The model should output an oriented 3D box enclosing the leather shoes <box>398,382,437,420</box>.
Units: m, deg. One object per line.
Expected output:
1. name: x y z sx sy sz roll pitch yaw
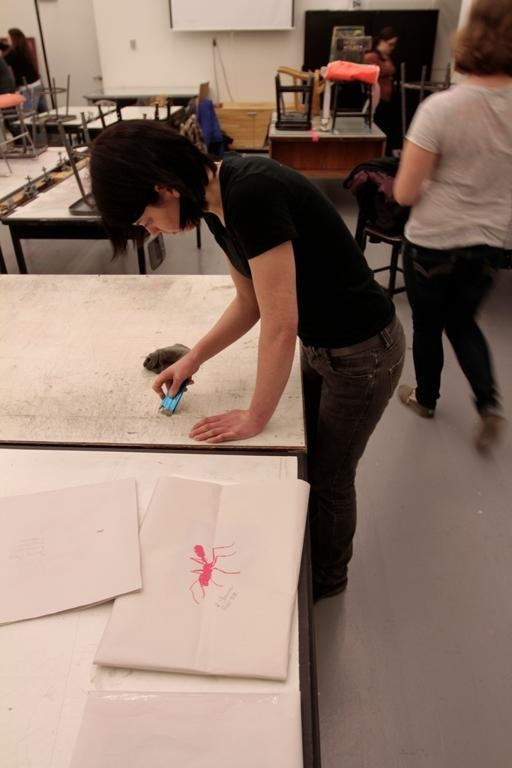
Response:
1. leather shoes: 0.663 0.079 2.359 0.077 0.076 0.197 -21 66 -36
